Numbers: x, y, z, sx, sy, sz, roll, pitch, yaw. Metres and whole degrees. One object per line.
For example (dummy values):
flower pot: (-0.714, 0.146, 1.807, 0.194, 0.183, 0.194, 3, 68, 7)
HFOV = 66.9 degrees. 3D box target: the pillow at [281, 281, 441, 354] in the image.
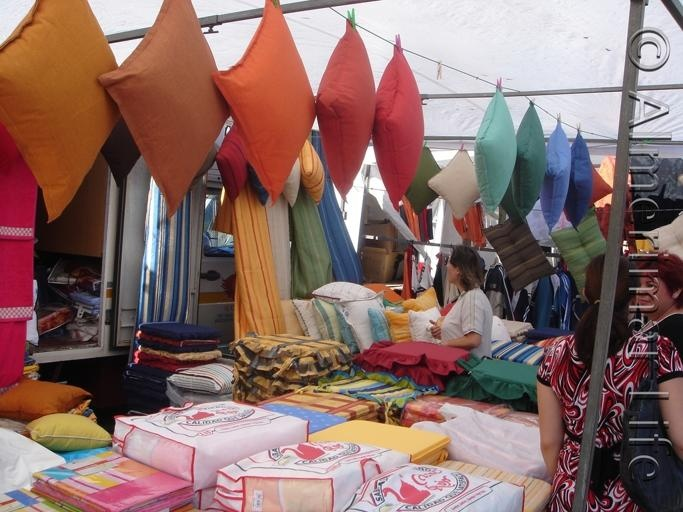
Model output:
pillow: (0.264, 0.565, 5.235, 0.896, 0.296, 0.909, 17, 18, 40)

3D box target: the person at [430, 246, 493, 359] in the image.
person: (1.009, 0.378, 4.393, 0.507, 0.937, 0.335, -3, -7, 34)
